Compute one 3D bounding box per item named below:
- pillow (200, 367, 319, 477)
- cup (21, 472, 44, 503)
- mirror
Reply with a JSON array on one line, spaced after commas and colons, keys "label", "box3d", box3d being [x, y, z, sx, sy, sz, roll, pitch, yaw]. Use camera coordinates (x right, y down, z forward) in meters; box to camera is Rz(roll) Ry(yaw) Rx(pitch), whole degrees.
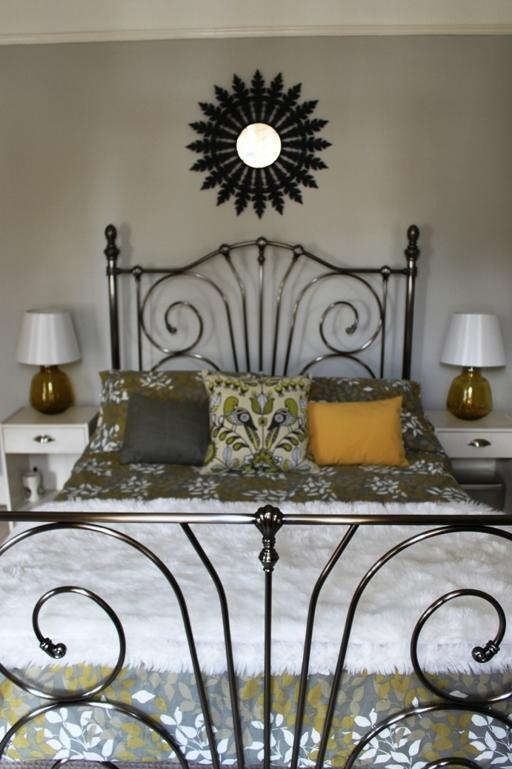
[{"label": "pillow", "box3d": [0.005, 0.143, 2.427, 0.349, 0.303, 0.125, 1, -22, -2]}, {"label": "cup", "box3d": [-0.982, 0.452, 3.104, 0.092, 0.143, 0.092, 2, 16, -1]}, {"label": "mirror", "box3d": [0.014, -1.013, 2.917, 0.562, 0.522, 0.011, 5, 15, 2]}]
